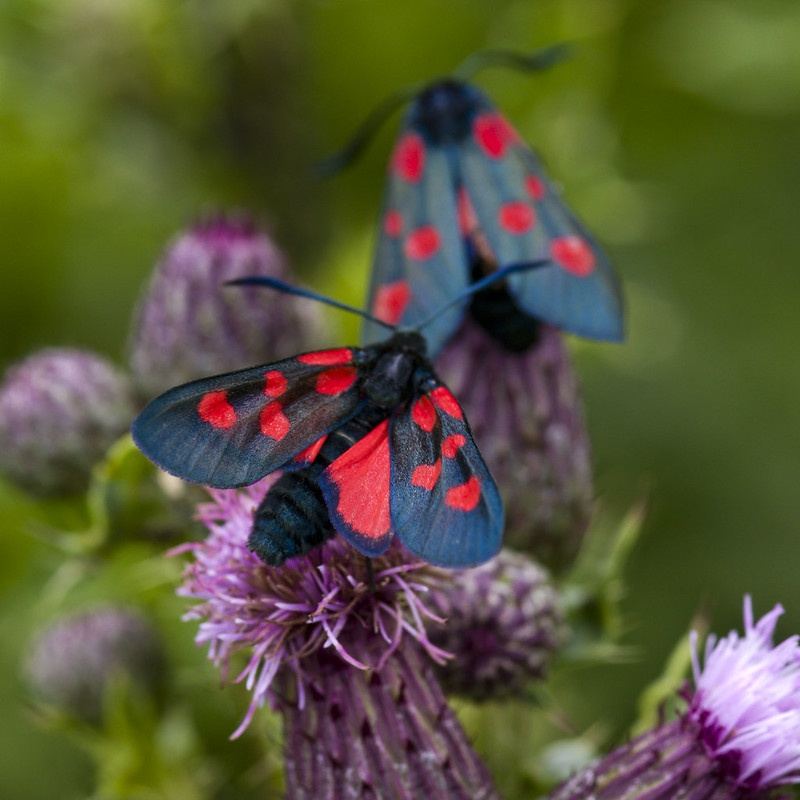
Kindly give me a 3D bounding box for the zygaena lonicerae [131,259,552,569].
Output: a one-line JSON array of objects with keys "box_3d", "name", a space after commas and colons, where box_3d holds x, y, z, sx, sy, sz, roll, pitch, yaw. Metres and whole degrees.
[{"box_3d": [-0.059, 0.053, 1.039, 0.315, 0.195, 0.354, 9, 53, 23], "name": "zygaena lonicerae"}]
